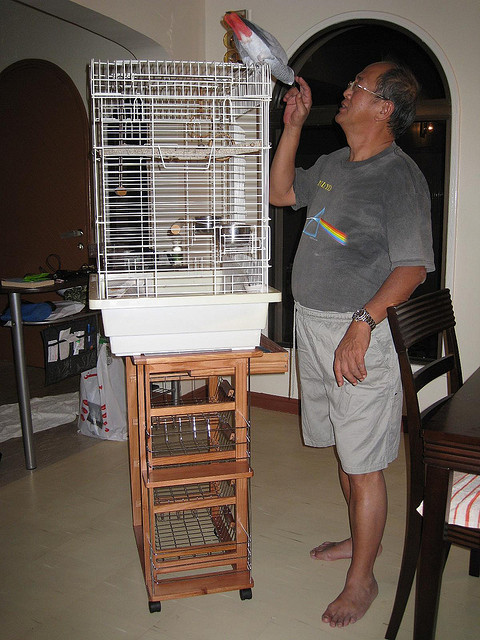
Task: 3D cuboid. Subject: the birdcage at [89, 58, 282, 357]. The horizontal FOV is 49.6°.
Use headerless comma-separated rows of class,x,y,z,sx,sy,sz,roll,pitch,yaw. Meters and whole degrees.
birdcage,-0.173,-0.267,1.517,0.607,0.723,0.591,-4,-3,33
